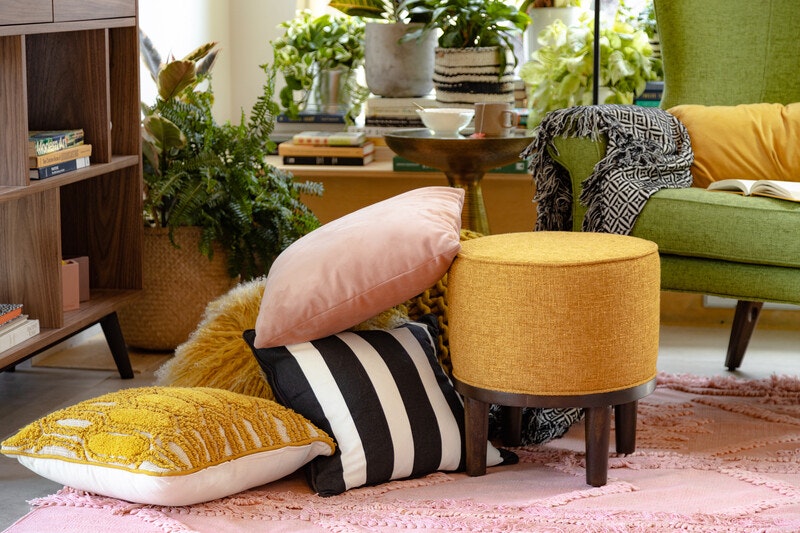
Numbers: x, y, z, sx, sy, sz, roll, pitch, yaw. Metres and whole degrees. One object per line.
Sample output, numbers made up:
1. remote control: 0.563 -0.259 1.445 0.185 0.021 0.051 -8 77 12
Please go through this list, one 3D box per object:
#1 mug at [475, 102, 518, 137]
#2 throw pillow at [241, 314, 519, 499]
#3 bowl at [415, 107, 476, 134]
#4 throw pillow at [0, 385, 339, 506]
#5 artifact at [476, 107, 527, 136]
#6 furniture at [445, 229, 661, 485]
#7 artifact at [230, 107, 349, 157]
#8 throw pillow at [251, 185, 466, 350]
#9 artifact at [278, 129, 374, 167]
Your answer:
1. mug: 0.330 -0.520 2.552 0.107 0.089 0.166 -15 21 -43
2. throw pillow: -0.051 0.322 1.628 0.459 0.379 0.127 -11 -21 -37
3. bowl: 0.179 -0.529 2.607 0.195 0.104 0.236 3 11 9
4. throw pillow: -0.505 0.373 1.541 0.396 0.119 0.392 -2 -5 23
5. artifact: 0.354 -0.519 2.544 0.161 0.083 0.098 7 14 34
6. furniture: 0.340 0.174 1.804 0.638 0.522 0.568 1 9 17
7. artifact: -0.412 -0.638 3.211 0.445 0.080 0.399 -3 4 -43
8. throw pillow: -0.087 -0.003 1.722 0.461 0.369 0.288 2 13 3
9. artifact: -0.303 -0.485 2.966 0.382 0.134 0.104 0 13 -6
